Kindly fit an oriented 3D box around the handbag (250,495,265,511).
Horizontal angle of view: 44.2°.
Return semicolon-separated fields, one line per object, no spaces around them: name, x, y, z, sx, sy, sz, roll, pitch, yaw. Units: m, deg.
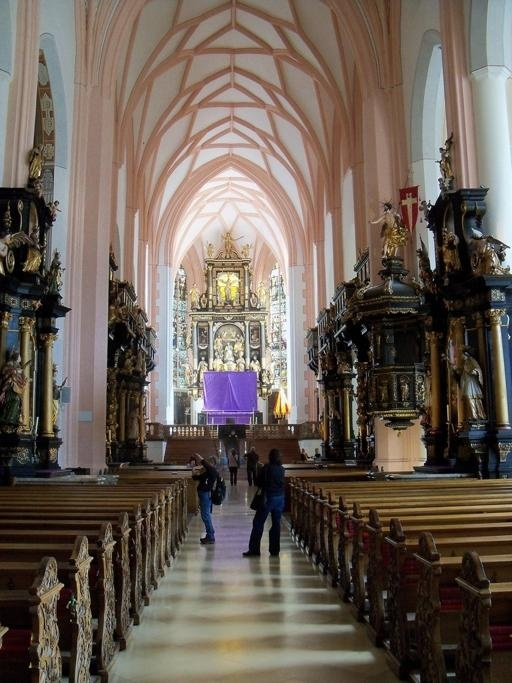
handbag;0.017;1.866;7.332;0.200;0.172;0.279;15;-6;2

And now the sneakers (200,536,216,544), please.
sneakers;-0.644;2.670;8.412;0.153;0.118;0.090;3;-10;3

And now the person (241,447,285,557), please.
person;0.109;1.928;7.569;0.467;1.262;0.972;-1;-5;2

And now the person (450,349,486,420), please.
person;2.746;0.562;8.028;0.321;0.953;0.275;-2;-5;16

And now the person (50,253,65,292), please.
person;-3.244;-1.136;10.250;0.199;0.815;0.711;1;-5;-17
